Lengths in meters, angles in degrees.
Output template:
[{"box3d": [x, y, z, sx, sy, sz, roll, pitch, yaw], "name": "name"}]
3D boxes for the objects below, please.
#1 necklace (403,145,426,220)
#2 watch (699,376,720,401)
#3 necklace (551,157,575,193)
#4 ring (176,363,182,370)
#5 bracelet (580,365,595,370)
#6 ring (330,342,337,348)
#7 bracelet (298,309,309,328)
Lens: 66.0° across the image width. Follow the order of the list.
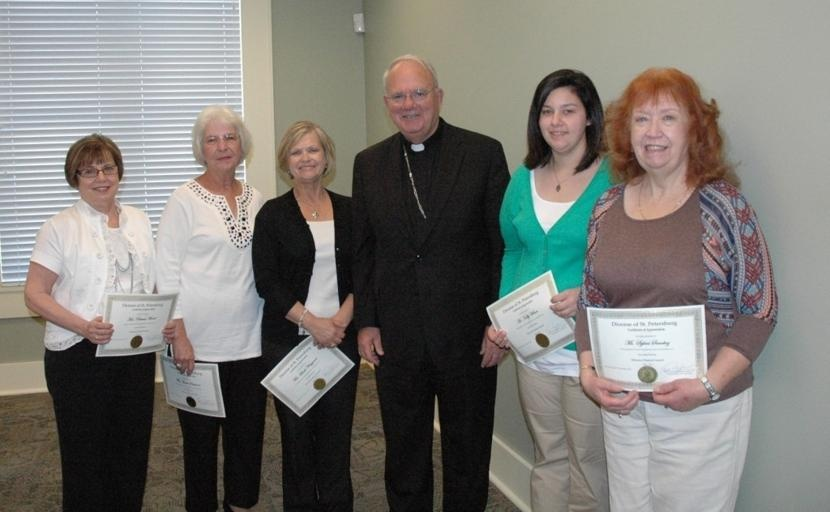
[{"box3d": [0.000, -0.374, 3.371, 0.045, 0.427, 0.066, -30, -21, 22], "name": "necklace"}, {"box3d": [1.168, 0.521, 2.541, 0.045, 0.070, 0.071, -26, -20, 0], "name": "watch"}, {"box3d": [0.713, -0.387, 3.071, 0.018, 0.157, 0.164, 4, 7, -44], "name": "necklace"}, {"box3d": [-1.268, 0.597, 3.442, 0.028, 0.020, 0.028, 1, -3, 0], "name": "ring"}, {"box3d": [0.753, 0.483, 2.783, 0.030, 0.019, 0.038, 0, -2, 1], "name": "bracelet"}, {"box3d": [-0.441, 0.485, 3.476, 0.035, 0.032, 0.025, -9, -24, 6], "name": "ring"}, {"box3d": [-0.597, 0.335, 3.446, 0.024, 0.080, 0.085, 13, 3, 11], "name": "bracelet"}]
